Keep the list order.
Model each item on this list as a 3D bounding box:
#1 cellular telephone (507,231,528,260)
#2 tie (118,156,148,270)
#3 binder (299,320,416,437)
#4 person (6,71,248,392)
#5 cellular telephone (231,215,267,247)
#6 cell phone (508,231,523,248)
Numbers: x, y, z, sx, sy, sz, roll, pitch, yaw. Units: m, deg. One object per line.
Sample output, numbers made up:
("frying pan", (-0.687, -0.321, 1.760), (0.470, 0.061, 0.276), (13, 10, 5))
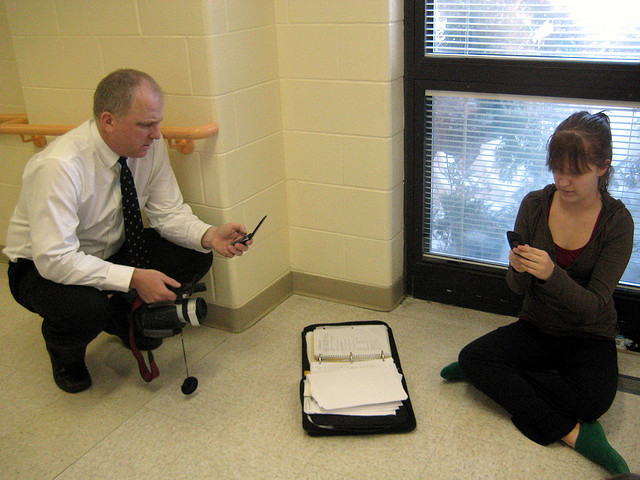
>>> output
("cellular telephone", (0.726, 0.004, 1.973), (0.056, 0.074, 0.034), (15, 29, 32))
("tie", (-0.769, -0.112, 2.214), (0.078, 0.454, 0.053), (-3, 12, 5))
("binder", (0.138, 0.572, 2.274), (0.426, 0.137, 0.555), (-1, 40, -4))
("person", (-0.838, -0.023, 2.184), (0.924, 1.261, 0.570), (-9, 25, -16))
("cellular telephone", (-0.334, -0.046, 2.421), (0.024, 0.208, 0.084), (43, 32, -3))
("cell phone", (0.726, 0.001, 1.970), (0.062, 0.064, 0.031), (19, 32, 38))
